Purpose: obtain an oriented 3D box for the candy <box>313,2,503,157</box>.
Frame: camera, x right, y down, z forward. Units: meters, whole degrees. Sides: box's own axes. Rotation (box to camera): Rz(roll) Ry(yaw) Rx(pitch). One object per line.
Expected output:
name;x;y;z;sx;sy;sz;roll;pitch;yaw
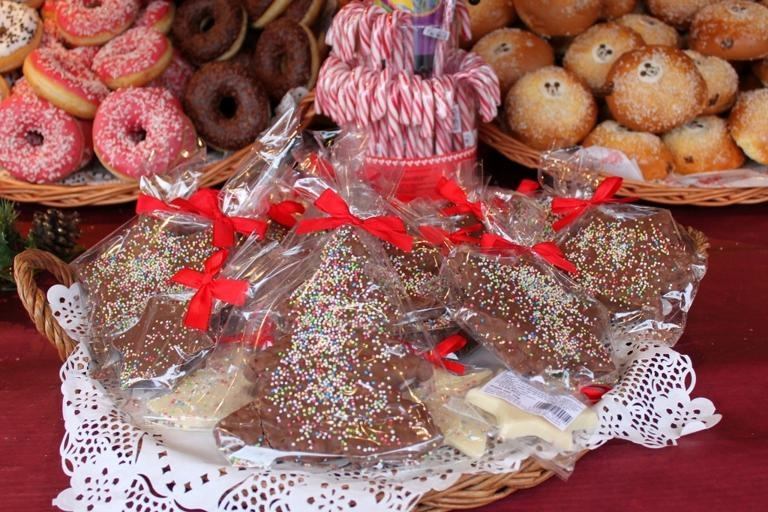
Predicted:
candy;0.055;-0.351;1.463;0.351;0.202;0.334;11;80;6
